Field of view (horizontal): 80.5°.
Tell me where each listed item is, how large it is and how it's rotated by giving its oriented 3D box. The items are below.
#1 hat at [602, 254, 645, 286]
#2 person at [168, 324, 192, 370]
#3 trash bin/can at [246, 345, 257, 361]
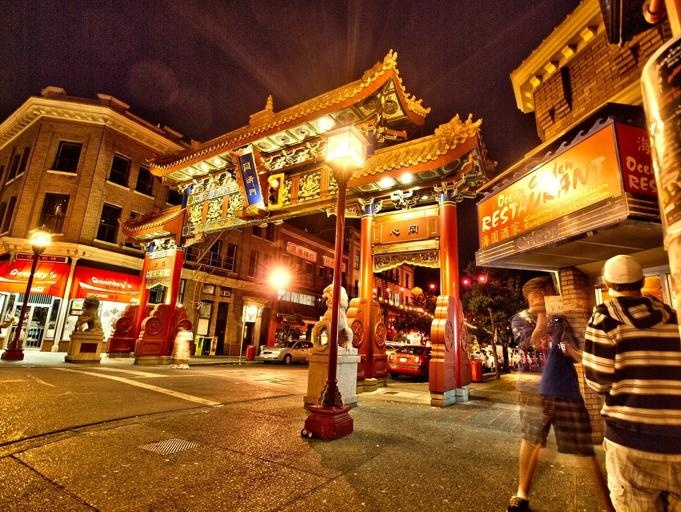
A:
[{"bbox_3d":[2.645,0.138,3.782,0.241,0.201,0.348,-2,-3,35],"label":"hat"},{"bbox_3d":[-5.725,3.271,14.582,0.605,1.447,0.944,8,-14,-22],"label":"person"},{"bbox_3d":[-5.058,5.422,22.666,0.430,0.797,1.010,6,-14,-15],"label":"trash bin/can"}]
